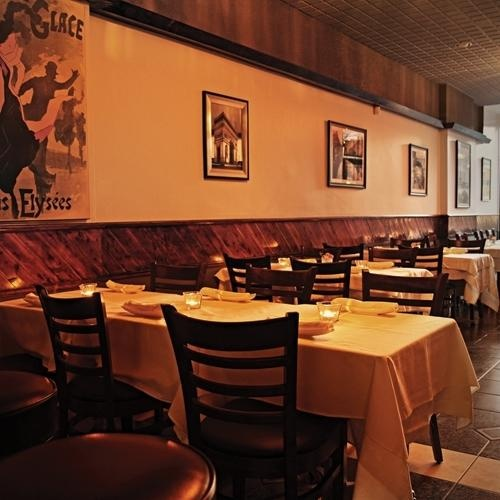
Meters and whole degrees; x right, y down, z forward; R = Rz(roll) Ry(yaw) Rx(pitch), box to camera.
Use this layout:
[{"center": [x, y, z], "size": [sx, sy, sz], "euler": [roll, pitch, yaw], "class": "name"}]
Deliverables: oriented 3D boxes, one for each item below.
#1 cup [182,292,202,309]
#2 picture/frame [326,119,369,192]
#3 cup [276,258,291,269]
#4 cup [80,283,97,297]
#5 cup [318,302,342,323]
[{"center": [-0.298, 0.252, 2.251], "size": [0.072, 0.068, 0.081], "euler": [0, -2, 0], "class": "cup"}, {"center": [1.645, -1.582, 7.363], "size": [0.971, 1.000, 0.051], "euler": [-2, 3, -41], "class": "picture/frame"}, {"center": [0.408, 0.155, 5.119], "size": [0.101, 0.082, 0.115], "euler": [-1, -2, 42], "class": "cup"}, {"center": [-0.964, 0.237, 2.604], "size": [0.086, 0.072, 0.093], "euler": [2, 1, 0], "class": "cup"}, {"center": [0.346, 0.262, 1.922], "size": [0.075, 0.070, 0.086], "euler": [3, 6, 37], "class": "cup"}]
